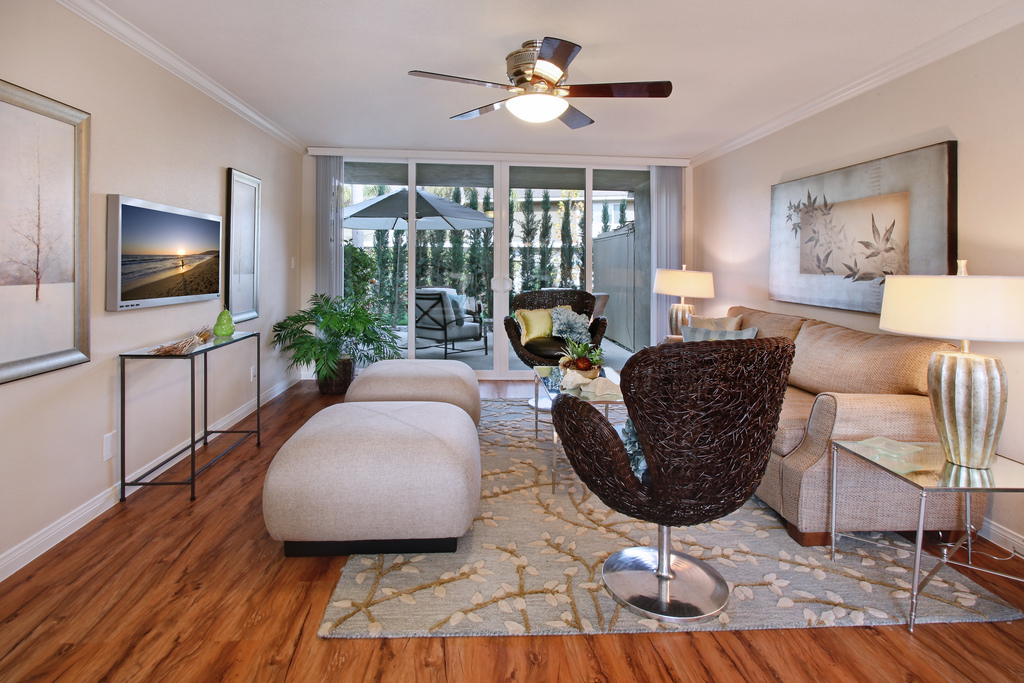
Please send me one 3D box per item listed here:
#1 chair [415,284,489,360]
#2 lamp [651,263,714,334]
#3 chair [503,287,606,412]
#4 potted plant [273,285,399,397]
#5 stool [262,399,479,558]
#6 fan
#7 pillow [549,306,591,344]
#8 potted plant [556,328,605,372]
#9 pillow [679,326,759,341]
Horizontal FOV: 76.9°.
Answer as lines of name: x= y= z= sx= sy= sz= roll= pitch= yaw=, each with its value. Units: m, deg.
chair: x=-0.735 y=-0.290 z=7.550 sx=0.702 sy=0.830 sz=0.872 roll=3 pitch=3 yaw=33
lamp: x=1.563 y=-0.454 z=6.545 sx=0.808 sy=0.770 sz=0.757 roll=1 pitch=0 yaw=-1
chair: x=0.359 y=-0.149 z=6.596 sx=0.951 sy=0.941 sz=0.887 roll=0 pitch=-3 yaw=-2
potted plant: x=-1.798 y=-0.019 z=6.605 sx=1.160 sy=0.723 sz=1.082 roll=0 pitch=-1 yaw=-11
stool: x=-0.751 y=0.743 z=3.606 sx=0.909 sy=0.407 sz=0.921 roll=0 pitch=1 yaw=2
fan: x=0.262 y=-1.777 z=4.342 sx=1.006 sy=0.468 sz=1.299 roll=-3 pitch=9 yaw=-26
pillow: x=0.580 y=-0.177 z=6.221 sx=0.347 sy=0.348 sz=0.113 roll=-3 pitch=-15 yaw=24
potted plant: x=0.517 y=0.085 z=4.772 sx=0.286 sy=0.173 sz=0.362 roll=1 pitch=-2 yaw=-4
pillow: x=1.651 y=-0.072 z=5.151 sx=0.379 sy=0.102 sz=0.372 roll=-2 pitch=-4 yaw=-5
